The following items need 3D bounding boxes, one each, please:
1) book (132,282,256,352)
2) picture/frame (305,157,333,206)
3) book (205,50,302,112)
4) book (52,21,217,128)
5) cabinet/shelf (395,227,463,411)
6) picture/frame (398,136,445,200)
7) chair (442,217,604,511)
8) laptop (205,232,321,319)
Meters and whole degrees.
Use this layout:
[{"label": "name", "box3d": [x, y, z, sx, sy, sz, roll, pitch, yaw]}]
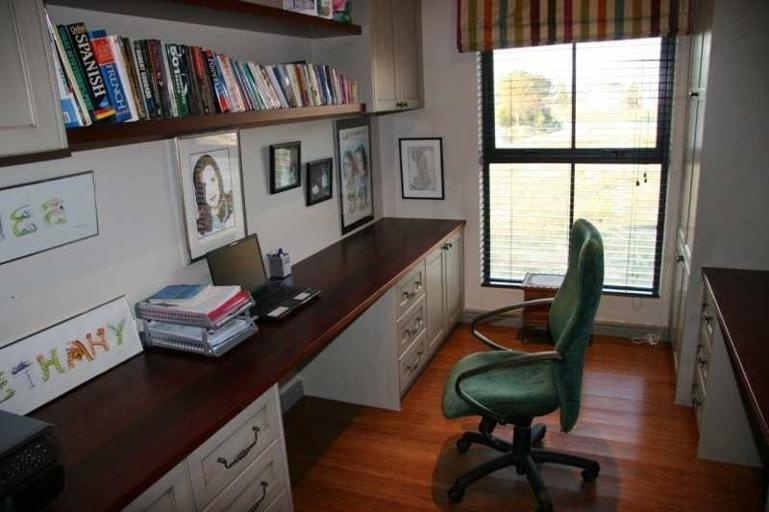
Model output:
[{"label": "book", "box3d": [-0.944, 0.281, 2.650, 0.426, 0.241, 0.345, 7, 16, 16]}, {"label": "picture/frame", "box3d": [-0.473, -0.542, 3.778, 0.025, 0.307, 0.328, 6, 14, 23]}, {"label": "book", "box3d": [-0.713, -0.918, 2.832, 0.309, 0.149, 0.402, -13, 13, -32]}, {"label": "book", "box3d": [-1.067, -0.811, 2.330, 0.091, 0.395, 0.670, 10, 24, 34]}, {"label": "cabinet/shelf", "box3d": [0.256, 0.307, 4.404, 0.523, 0.928, 1.110, 2, 14, 23]}, {"label": "picture/frame", "box3d": [0.340, -0.798, 4.639, 0.536, 0.716, 0.045, 3, 22, 15]}, {"label": "chair", "box3d": [0.760, 0.586, 2.852, 0.891, 1.479, 0.734, -1, 20, 8]}, {"label": "laptop", "box3d": [-0.689, 0.109, 3.001, 0.560, 0.325, 0.592, -14, 24, -39]}]
